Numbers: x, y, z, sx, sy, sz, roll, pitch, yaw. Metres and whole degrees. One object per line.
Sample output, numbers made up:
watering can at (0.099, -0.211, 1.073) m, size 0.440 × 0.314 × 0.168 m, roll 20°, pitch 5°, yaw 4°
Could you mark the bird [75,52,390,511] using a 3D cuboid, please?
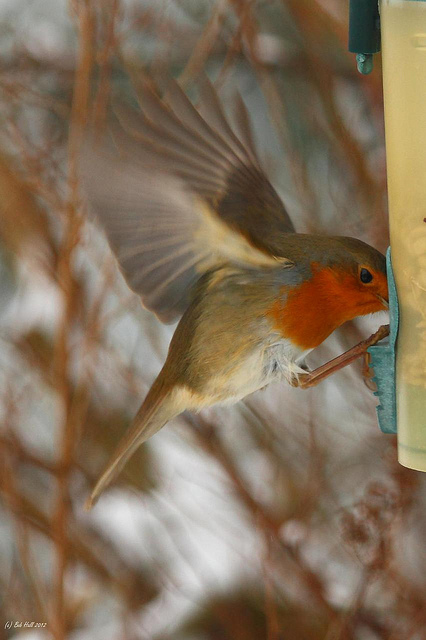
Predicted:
bird at (0.010, -0.080, 1.177) m, size 0.604 × 0.457 × 0.499 m, roll -10°, pitch 96°, yaw 16°
